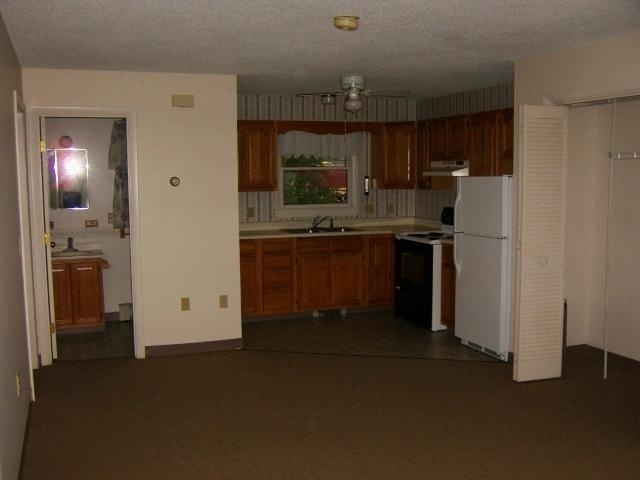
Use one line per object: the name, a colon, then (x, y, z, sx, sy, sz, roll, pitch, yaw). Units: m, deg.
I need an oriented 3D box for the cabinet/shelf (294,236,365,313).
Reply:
cabinet/shelf: (0.072, 0.413, 7.213, 1.080, 0.989, 0.510, -2, 2, -21)

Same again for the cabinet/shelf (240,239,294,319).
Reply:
cabinet/shelf: (-0.707, 0.444, 6.764, 0.974, 0.934, 0.515, -1, 4, -17)

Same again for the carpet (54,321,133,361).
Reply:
carpet: (-2.596, 1.179, 6.139, 0.813, 0.047, 1.458, -6, 8, -23)

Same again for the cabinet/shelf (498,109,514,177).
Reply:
cabinet/shelf: (2.125, -1.127, 6.028, 0.111, 0.732, 0.241, -4, 7, -7)

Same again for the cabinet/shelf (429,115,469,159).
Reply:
cabinet/shelf: (1.671, -1.337, 6.849, 0.248, 0.559, 0.648, -3, 4, -32)

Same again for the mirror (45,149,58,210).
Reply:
mirror: (-3.517, -0.803, 6.961, 0.123, 0.908, 0.117, -2, 37, -27)

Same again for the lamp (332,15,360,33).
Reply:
lamp: (0.187, -1.579, 3.844, 0.192, 0.078, 0.158, -2, 7, 3)

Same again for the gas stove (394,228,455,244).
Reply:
gas stove: (1.395, -0.051, 6.657, 0.466, 0.105, 1.011, -6, 8, -25)

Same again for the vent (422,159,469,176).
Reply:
vent: (1.637, -0.932, 6.778, 0.227, 0.266, 0.684, -4, 4, -25)

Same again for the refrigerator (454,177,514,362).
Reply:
refrigerator: (1.752, 0.256, 5.690, 0.349, 1.873, 0.827, -5, 7, -15)

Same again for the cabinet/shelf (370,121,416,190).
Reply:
cabinet/shelf: (1.024, -1.207, 7.733, 0.671, 0.957, 0.678, 1, 8, 13)

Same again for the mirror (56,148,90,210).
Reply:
mirror: (-3.236, -0.797, 6.878, 0.436, 0.783, 0.134, -3, 7, 1)

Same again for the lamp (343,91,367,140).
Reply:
lamp: (0.567, -1.852, 7.470, 0.283, 0.612, 0.291, -1, 12, -40)

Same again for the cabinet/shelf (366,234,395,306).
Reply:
cabinet/shelf: (0.725, 0.379, 7.402, 0.419, 0.991, 0.502, -1, 2, -19)

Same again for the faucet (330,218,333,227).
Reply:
faucet: (0.161, -0.258, 7.589, 0.061, 0.129, 0.130, -3, 7, 1)

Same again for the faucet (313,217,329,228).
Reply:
faucet: (-0.012, -0.272, 7.536, 0.092, 0.150, 0.291, 2, 9, 35)
